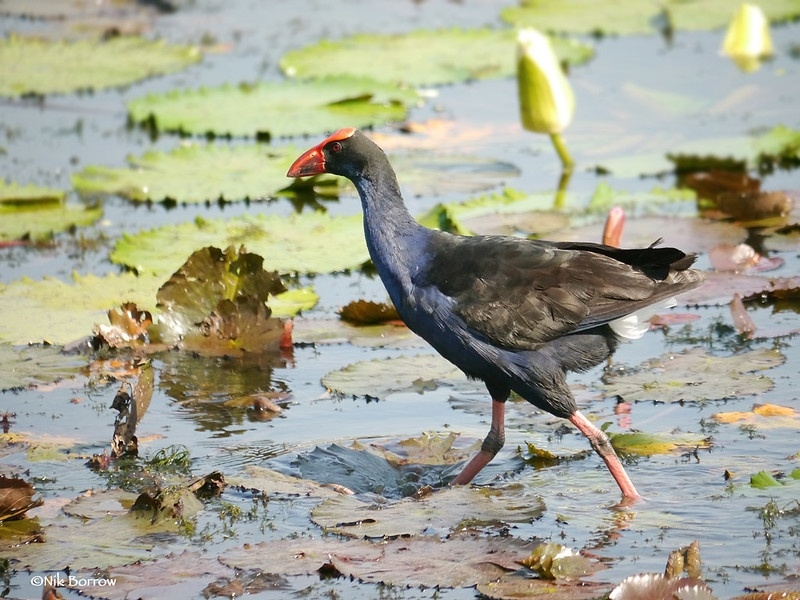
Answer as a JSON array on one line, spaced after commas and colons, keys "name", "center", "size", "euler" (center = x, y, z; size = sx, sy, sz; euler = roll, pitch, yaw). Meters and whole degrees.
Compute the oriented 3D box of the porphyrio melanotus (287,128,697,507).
[{"name": "porphyrio melanotus", "center": [0.559, 0.003, 5.292], "size": [1.897, 1.930, 0.754], "euler": [5, 18, 31]}]
